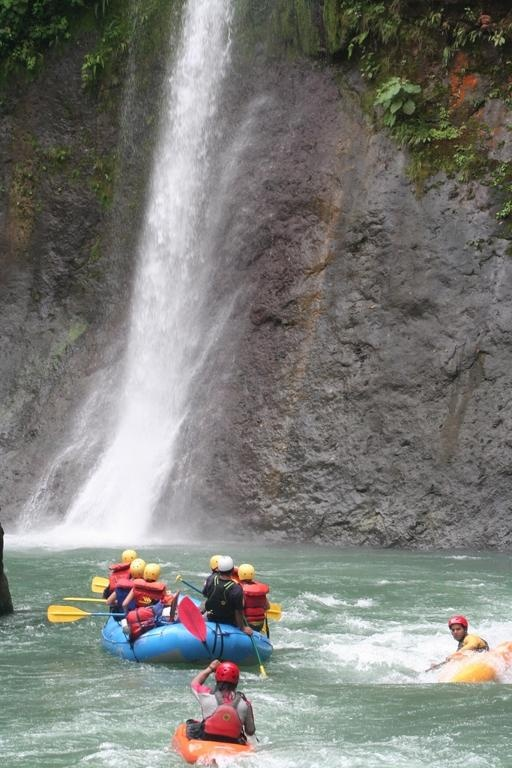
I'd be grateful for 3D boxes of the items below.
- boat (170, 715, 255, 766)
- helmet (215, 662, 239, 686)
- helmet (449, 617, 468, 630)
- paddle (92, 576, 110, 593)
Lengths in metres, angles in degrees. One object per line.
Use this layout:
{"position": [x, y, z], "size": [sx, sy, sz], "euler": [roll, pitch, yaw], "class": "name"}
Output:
{"position": [-0.330, 2.404, 5.257], "size": [0.570, 0.141, 0.300], "euler": [2, 7, 23], "class": "boat"}
{"position": [-0.191, 1.966, 5.410], "size": [0.135, 0.153, 0.175], "euler": [8, -14, 1], "class": "helmet"}
{"position": [1.960, 2.295, 7.723], "size": [0.166, 0.254, 0.131], "euler": [-7, 49, 14], "class": "helmet"}
{"position": [-1.927, 2.480, 9.820], "size": [0.133, 0.246, 0.486], "euler": [2, -10, -28], "class": "paddle"}
